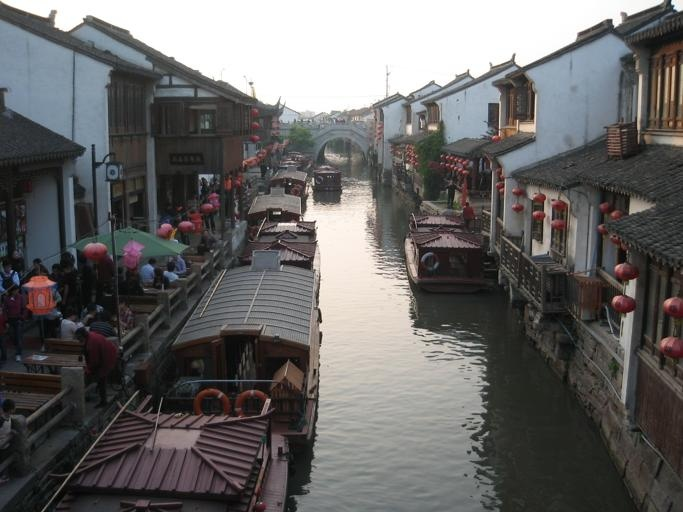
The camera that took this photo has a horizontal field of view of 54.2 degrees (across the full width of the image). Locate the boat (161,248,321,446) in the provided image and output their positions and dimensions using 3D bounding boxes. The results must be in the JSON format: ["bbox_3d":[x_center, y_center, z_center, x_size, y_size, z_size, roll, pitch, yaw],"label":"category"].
[{"bbox_3d":[-2.119,2.135,17.797,2.180,2.123,5.489,0,14,2],"label":"boat"}]

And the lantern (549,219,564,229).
[{"bbox_3d":[6.826,-1.006,21.211,0.407,0.304,0.543,4,15,17],"label":"lantern"}]

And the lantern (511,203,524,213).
[{"bbox_3d":[6.827,-1.834,26.131,0.317,0.387,0.353,-5,16,-3],"label":"lantern"}]

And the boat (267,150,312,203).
[{"bbox_3d":[-4.707,-6.802,60.672,2.559,3.164,11.875,-1,18,-2],"label":"boat"}]

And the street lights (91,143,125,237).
[{"bbox_3d":[-7.006,-1.892,19.933,0.784,2.848,0.338,-5,18,-27],"label":"street lights"}]

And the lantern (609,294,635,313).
[{"bbox_3d":[5.918,1.012,14.194,0.373,0.365,0.412,2,-1,-3],"label":"lantern"}]

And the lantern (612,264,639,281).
[{"bbox_3d":[5.990,0.356,14.116,0.404,0.463,0.552,9,17,33],"label":"lantern"}]

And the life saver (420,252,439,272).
[{"bbox_3d":[3.681,0.249,28.016,0.731,0.898,0.330,1,13,6],"label":"life saver"}]

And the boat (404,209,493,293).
[{"bbox_3d":[4.713,-0.328,31.700,3.342,2.455,8.654,0,12,2],"label":"boat"}]

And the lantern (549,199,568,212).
[{"bbox_3d":[6.817,-1.629,21.075,0.319,0.254,0.350,11,14,-7],"label":"lantern"}]

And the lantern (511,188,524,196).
[{"bbox_3d":[6.855,-2.494,26.160,0.535,0.305,0.366,-7,16,-24],"label":"lantern"}]
